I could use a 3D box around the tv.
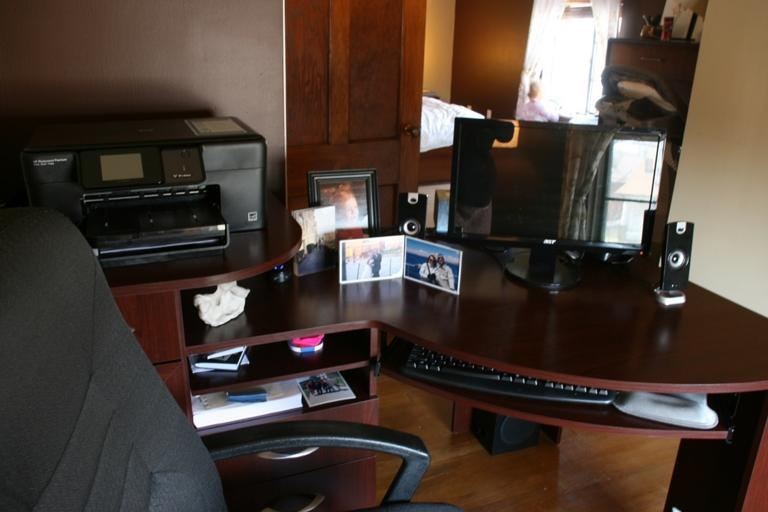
[{"bbox_3d":[0.589,-0.164,1.996,0.587,0.452,0.228,5,16,7],"label":"tv"}]
